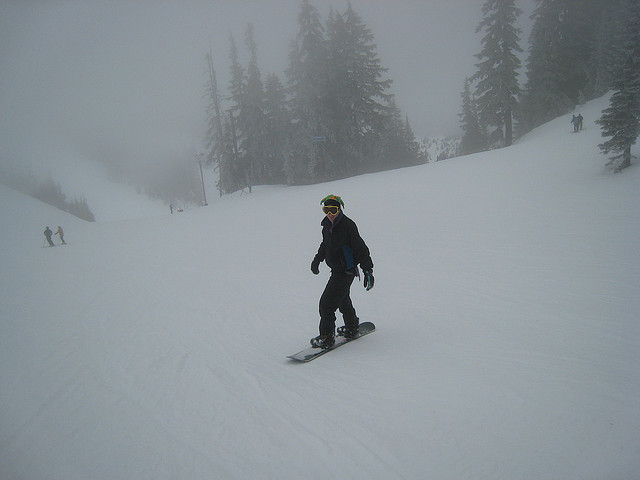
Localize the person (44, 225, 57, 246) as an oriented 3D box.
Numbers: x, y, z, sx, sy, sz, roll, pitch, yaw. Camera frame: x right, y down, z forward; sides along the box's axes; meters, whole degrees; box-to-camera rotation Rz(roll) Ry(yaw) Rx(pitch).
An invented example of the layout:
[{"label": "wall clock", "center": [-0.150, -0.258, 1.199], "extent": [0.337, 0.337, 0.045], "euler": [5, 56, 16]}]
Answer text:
[{"label": "person", "center": [-13.499, -0.178, 27.504], "extent": [0.421, 1.013, 0.779], "euler": [-9, 4, -26]}]

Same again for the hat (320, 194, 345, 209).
[{"label": "hat", "center": [0.278, -0.917, 12.922], "extent": [0.457, 0.192, 0.591], "euler": [-9, 4, -1]}]

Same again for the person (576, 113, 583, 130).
[{"label": "person", "center": [12.685, -5.798, 26.696], "extent": [0.192, 0.851, 0.440], "euler": [-15, 15, -23]}]

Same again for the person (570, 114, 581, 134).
[{"label": "person", "center": [12.588, -5.569, 27.013], "extent": [0.482, 0.233, 0.920], "euler": [32, -15, 37]}]
